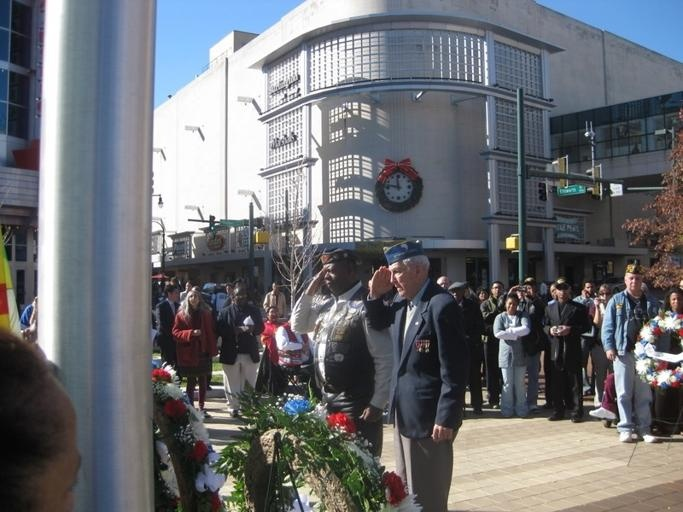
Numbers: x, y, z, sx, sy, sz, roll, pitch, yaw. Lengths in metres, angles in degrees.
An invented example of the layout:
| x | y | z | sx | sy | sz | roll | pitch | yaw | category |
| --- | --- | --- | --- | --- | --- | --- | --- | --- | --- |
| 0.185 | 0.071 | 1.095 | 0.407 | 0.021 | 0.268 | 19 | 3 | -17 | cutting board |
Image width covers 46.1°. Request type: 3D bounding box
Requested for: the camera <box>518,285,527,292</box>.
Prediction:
| x | y | z | sx | sy | sz | roll | pitch | yaw | category |
| --- | --- | --- | --- | --- | --- | --- | --- | --- | --- |
| 3.106 | 0.551 | 13.816 | 0.109 | 0.068 | 0.164 | 1 | -1 | 3 | camera |

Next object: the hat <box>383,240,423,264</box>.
| x | y | z | sx | sy | sz | roll | pitch | yaw | category |
| --- | --- | --- | --- | --- | --- | --- | --- | --- | --- |
| 0.448 | -0.030 | 6.171 | 0.183 | 0.135 | 0.227 | -7 | -6 | -28 | hat |

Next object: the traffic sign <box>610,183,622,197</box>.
| x | y | z | sx | sy | sz | roll | pitch | yaw | category |
| --- | --- | --- | --- | --- | --- | --- | --- | --- | --- |
| 7.634 | -1.862 | 22.350 | 0.335 | 0.307 | 0.779 | -1 | -3 | 17 | traffic sign |

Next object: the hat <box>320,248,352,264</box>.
| x | y | z | sx | sy | sz | roll | pitch | yaw | category |
| --- | --- | --- | --- | --- | --- | --- | --- | --- | --- |
| -0.082 | 0.007 | 6.819 | 0.185 | 0.123 | 0.462 | 1 | -3 | -26 | hat |

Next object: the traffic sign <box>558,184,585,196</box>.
| x | y | z | sx | sy | sz | roll | pitch | yaw | category |
| --- | --- | --- | --- | --- | --- | --- | --- | --- | --- |
| 6.138 | -1.785 | 21.366 | 0.695 | 0.362 | 1.432 | -1 | -3 | 14 | traffic sign |
